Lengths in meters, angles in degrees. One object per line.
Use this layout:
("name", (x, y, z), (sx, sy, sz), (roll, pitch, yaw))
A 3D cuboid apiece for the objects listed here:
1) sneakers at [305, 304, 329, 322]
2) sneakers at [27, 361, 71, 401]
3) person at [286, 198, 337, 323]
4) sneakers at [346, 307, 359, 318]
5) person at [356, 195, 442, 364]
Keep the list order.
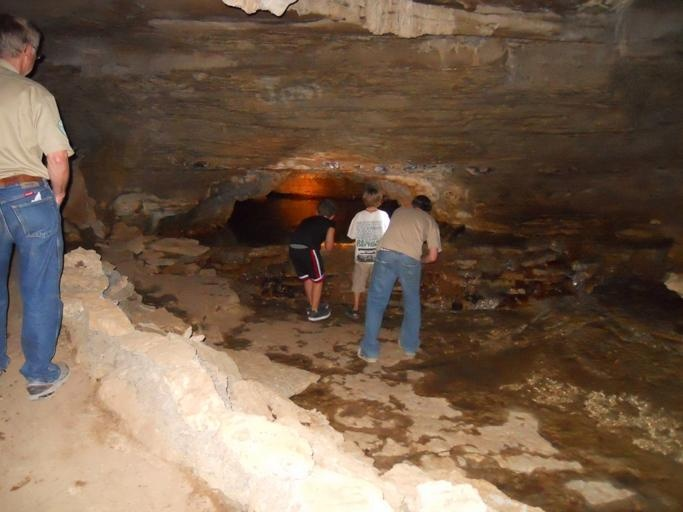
("sneakers", (-0.280, 0.722, 6.976), (0.145, 0.127, 0.367), (9, 15, 38))
("sneakers", (-2.035, 0.909, 3.994), (0.165, 0.135, 0.351), (13, 23, 26))
("person", (-0.328, 0.033, 6.851), (0.649, 1.554, 0.866), (10, 14, 0))
("sneakers", (0.154, 0.738, 7.151), (0.194, 0.134, 0.416), (1, -4, -13))
("person", (0.614, 0.296, 5.613), (0.656, 1.603, 0.369), (5, 16, -17))
